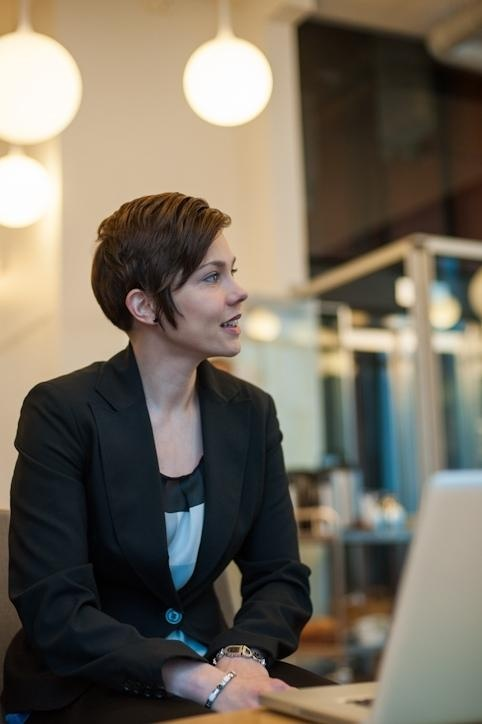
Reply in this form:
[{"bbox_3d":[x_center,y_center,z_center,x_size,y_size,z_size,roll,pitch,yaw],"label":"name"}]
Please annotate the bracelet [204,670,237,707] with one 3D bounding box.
[{"bbox_3d":[-0.027,0.416,0.920,0.010,0.035,0.034,39,50,13],"label":"bracelet"}]
